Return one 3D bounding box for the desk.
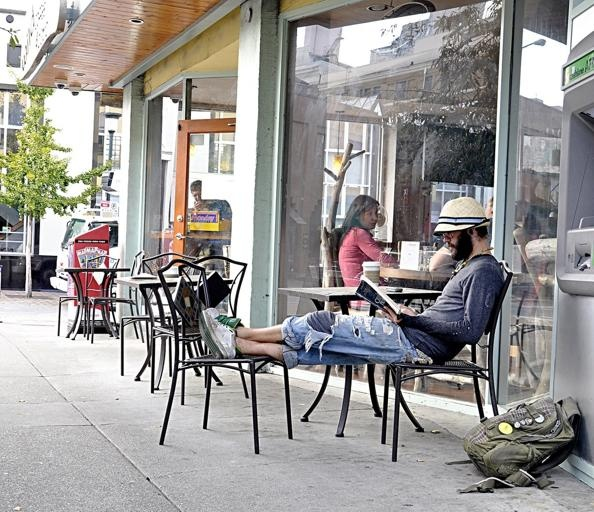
[{"bbox_3d":[0.373,0.676,4.544,0.959,0.930,0.957,3,-3,-18],"label":"desk"}]

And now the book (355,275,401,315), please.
[{"bbox_3d":[0.450,0.219,3.576,0.278,0.205,0.162,3,2,25],"label":"book"}]

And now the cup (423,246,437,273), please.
[{"bbox_3d":[1.045,0.018,4.930,0.137,0.240,0.139,0,1,0],"label":"cup"}]

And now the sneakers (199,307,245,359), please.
[{"bbox_3d":[-0.437,0.431,3.652,0.231,0.283,0.231,2,2,-8],"label":"sneakers"}]

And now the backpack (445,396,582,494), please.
[{"bbox_3d":[1.134,0.860,3.200,0.457,0.180,0.455,-15,13,-11],"label":"backpack"}]

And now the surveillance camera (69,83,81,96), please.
[{"bbox_3d":[-3.829,-2.873,11.118,0.206,0.236,0.206,-2,4,-14],"label":"surveillance camera"}]

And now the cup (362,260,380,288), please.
[{"bbox_3d":[0.547,0.125,4.780,0.175,0.190,0.176,-1,2,0],"label":"cup"}]

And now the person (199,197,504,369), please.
[{"bbox_3d":[0.462,0.198,4.035,1.896,1.119,0.817,1,-1,8],"label":"person"}]

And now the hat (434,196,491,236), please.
[{"bbox_3d":[0.979,-0.231,3.758,0.260,0.144,0.217,4,2,9],"label":"hat"}]
